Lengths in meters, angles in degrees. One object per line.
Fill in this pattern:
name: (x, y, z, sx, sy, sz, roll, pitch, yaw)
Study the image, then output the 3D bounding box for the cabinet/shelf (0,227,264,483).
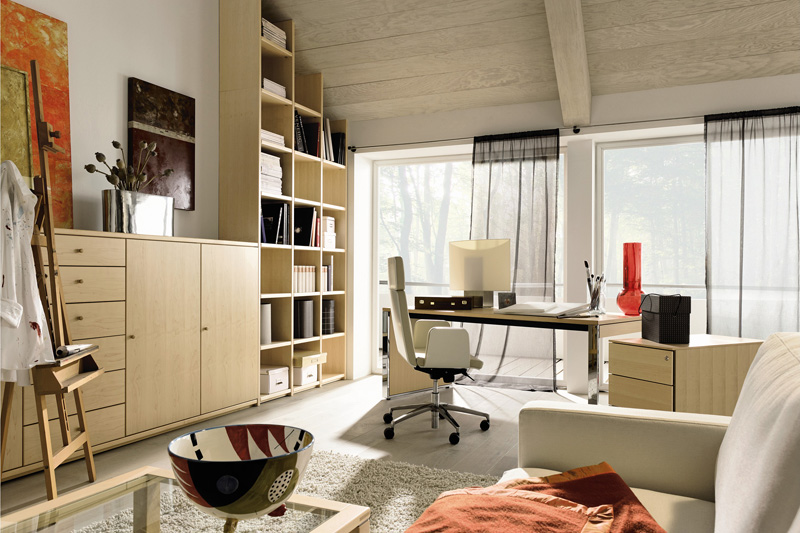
cabinet/shelf: (-1.818, 0.575, 3.759, 0.663, 1.150, 1.815, -1, -2, 29)

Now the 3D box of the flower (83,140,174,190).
flower: (-2.028, -0.763, 4.369, 0.351, 0.402, 0.732, 3, 6, 20)

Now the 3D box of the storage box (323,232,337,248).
storage box: (-0.727, -0.264, 5.980, 0.144, 0.151, 0.238, -1, -2, 13)

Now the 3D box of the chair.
chair: (0.272, 0.688, 5.174, 1.335, 1.789, 1.253, 0, -2, 1)

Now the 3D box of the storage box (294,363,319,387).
storage box: (-0.900, 1.067, 5.617, 0.185, 0.206, 0.326, -1, -3, 24)

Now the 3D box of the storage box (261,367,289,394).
storage box: (-1.126, 1.039, 5.242, 0.231, 0.132, 0.225, -1, -1, -36)

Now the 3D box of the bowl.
bowl: (-0.612, 0.794, 2.206, 0.562, 0.262, 0.529, 1, -3, 0)

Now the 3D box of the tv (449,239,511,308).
tv: (0.682, 0.062, 4.857, 0.632, 0.581, 0.321, 0, 2, 19)
